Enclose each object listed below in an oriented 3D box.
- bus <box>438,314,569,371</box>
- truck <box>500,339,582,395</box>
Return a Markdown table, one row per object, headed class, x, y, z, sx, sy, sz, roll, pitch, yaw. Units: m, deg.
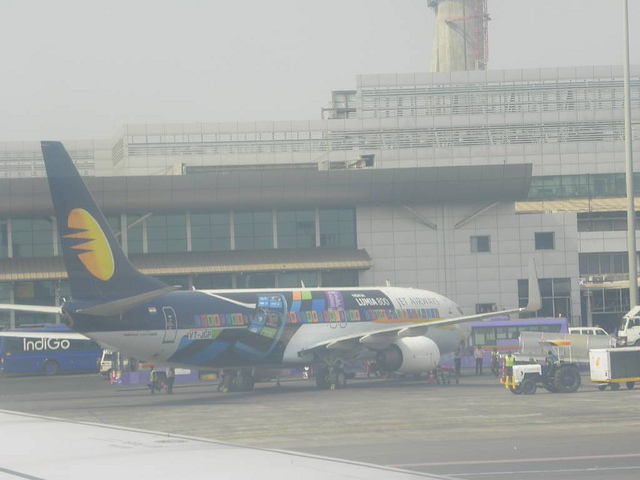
| class | x | y | z | sx | sy | sz | roll | pitch | yaw |
| --- | --- | --- | --- | --- | --- | --- | --- | --- | --- |
| bus | 12.864 | 6.954 | 104.962 | 8.894 | 3.213 | 3.010 | -3 | -6 | 28 |
| truck | 12.915 | 7.263 | 90.058 | 4.233 | 3.147 | 3.445 | -3 | -6 | -1 |
